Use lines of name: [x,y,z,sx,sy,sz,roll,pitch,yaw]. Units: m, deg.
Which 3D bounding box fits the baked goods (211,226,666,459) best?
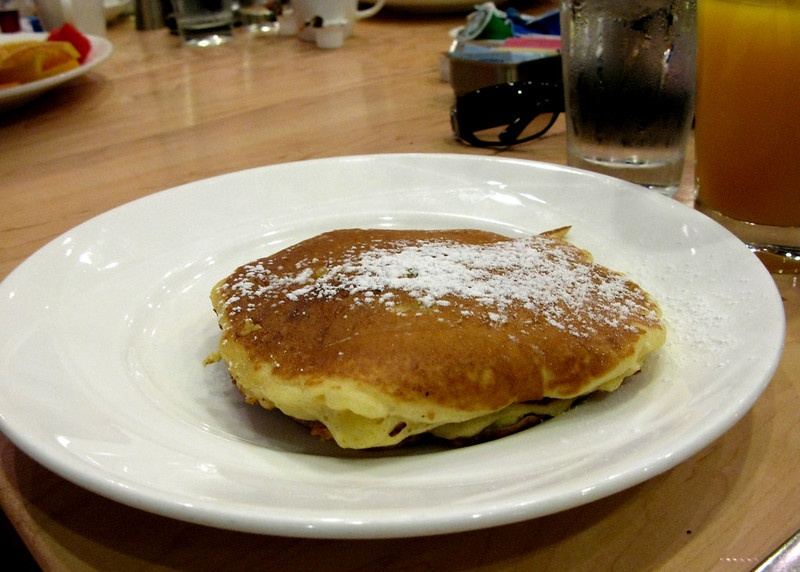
baked goods: [0.029,0.024,0.719,0.417,0.087,0.307,-14,39,-14]
